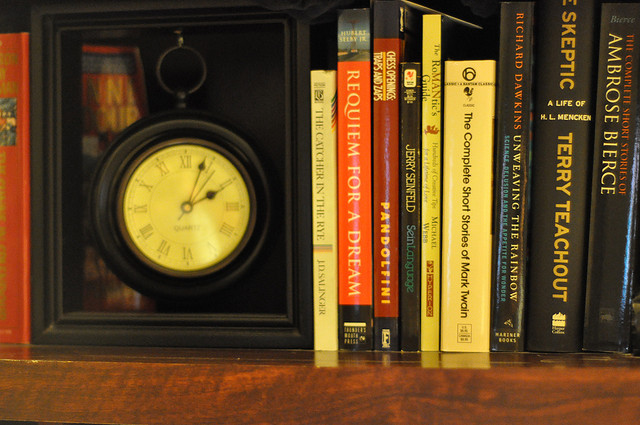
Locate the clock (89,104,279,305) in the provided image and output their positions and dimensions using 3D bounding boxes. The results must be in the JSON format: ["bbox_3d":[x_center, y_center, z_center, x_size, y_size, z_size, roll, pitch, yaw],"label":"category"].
[{"bbox_3d":[-0.214,-0.008,1.541,0.093,0.385,0.349,1,-55,-57],"label":"clock"}]
